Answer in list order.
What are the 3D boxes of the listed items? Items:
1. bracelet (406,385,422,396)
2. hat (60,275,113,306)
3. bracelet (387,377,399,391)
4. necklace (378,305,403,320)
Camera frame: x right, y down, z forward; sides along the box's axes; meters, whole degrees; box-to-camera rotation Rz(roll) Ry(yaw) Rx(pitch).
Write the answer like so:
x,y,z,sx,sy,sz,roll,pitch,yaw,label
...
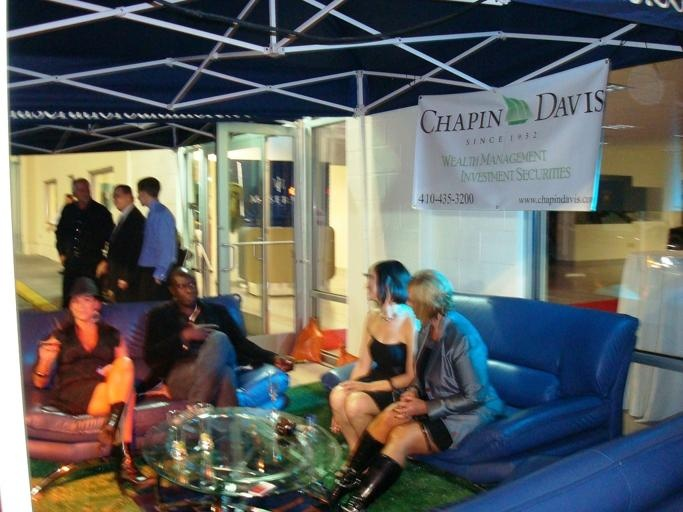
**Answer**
x,y,z,sx,sy,sz,roll,pitch,yaw,label
0.436,0.800,3.280,0.060,0.038,0.080,32,-12,0,bracelet
-2.070,0.278,4.566,0.221,0.118,0.242,-7,-14,14,hat
0.326,0.798,3.443,0.072,0.063,0.072,0,0,-3,bracelet
0.316,0.344,3.479,0.115,0.088,0.045,32,12,-10,necklace
